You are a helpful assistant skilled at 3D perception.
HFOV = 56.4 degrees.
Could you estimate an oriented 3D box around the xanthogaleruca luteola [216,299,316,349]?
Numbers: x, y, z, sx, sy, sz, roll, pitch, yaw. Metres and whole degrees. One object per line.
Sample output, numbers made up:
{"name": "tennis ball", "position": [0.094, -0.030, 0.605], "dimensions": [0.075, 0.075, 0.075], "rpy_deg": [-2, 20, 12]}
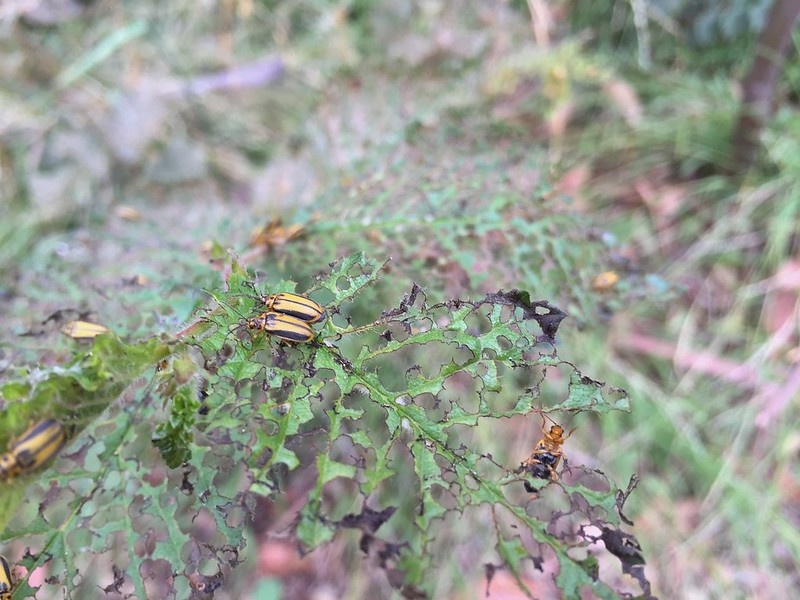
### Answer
{"name": "xanthogaleruca luteola", "position": [-0.315, 0.065, 1.861], "dimensions": [0.209, 0.056, 0.067], "rpy_deg": [10, 75, 5]}

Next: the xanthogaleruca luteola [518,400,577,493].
{"name": "xanthogaleruca luteola", "position": [0.371, 0.403, 1.952], "dimensions": [0.170, 0.071, 0.240], "rpy_deg": [28, 68, -10]}

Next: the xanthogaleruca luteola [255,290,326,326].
{"name": "xanthogaleruca luteola", "position": [-0.263, 0.018, 1.854], "dimensions": [0.096, 0.034, 0.094], "rpy_deg": [16, 43, 6]}
